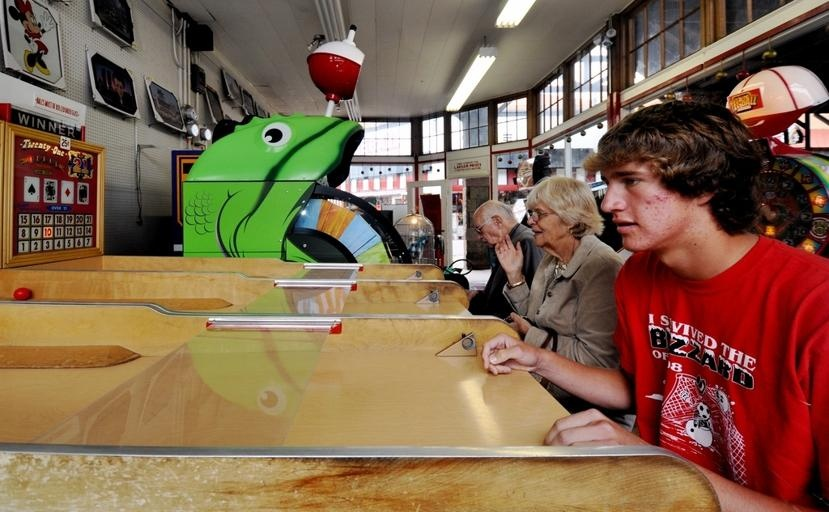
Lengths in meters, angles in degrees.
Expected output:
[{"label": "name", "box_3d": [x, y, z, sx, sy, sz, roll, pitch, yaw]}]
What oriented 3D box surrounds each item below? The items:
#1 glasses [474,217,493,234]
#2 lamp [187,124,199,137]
[{"label": "glasses", "box_3d": [0.464, -0.205, 3.593, 0.033, 0.103, 0.099, 2, 6, -13]}, {"label": "lamp", "box_3d": [-2.144, -1.214, 5.119, 0.081, 0.141, 0.142, -4, 3, 12]}]
